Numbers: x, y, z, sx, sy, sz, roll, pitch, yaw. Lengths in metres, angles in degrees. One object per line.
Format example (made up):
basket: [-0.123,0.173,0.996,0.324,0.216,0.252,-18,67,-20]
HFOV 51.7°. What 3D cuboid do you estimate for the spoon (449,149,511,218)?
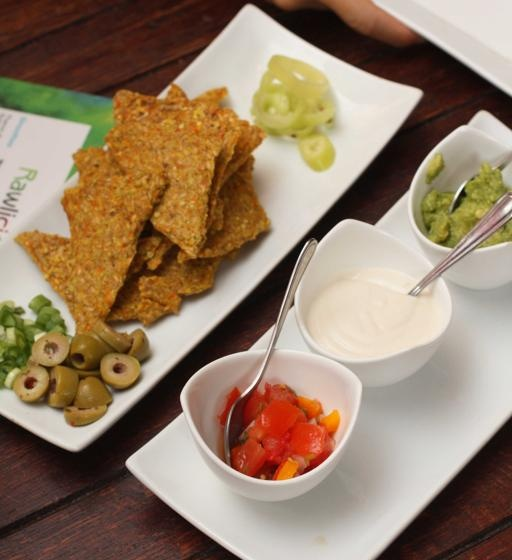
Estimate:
spoon: [0.613,-0.301,1.434,0.037,0.077,0.333,21,63,37]

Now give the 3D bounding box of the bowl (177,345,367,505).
bowl: [0.017,0.283,1.111,0.341,0.200,0.321,0,68,1]
